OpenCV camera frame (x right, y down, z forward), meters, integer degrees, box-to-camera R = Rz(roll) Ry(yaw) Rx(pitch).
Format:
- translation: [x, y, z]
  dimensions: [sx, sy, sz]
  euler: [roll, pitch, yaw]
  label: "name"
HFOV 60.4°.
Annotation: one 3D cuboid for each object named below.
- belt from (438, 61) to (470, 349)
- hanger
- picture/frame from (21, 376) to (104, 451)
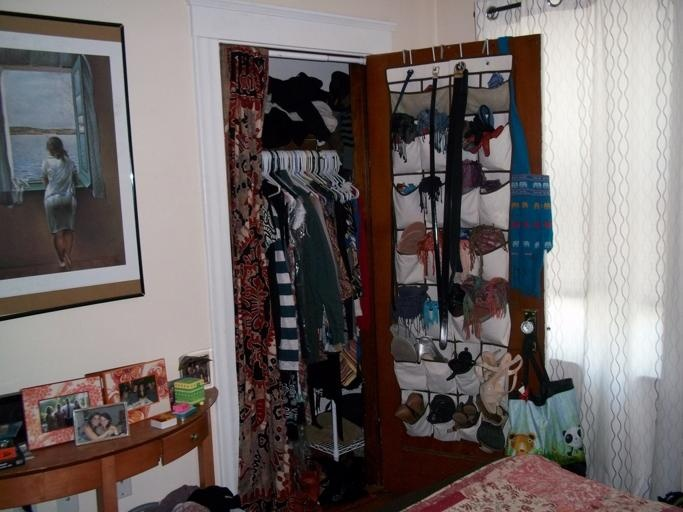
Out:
- translation: [0.637, -0.272, 3.341]
  dimensions: [0.240, 1.599, 0.085]
  euler: [-7, 6, -21]
  label: "belt"
- translation: [-0.225, -0.519, 3.550]
  dimensions: [0.369, 0.157, 0.383]
  euler: [20, 21, 36]
  label: "hanger"
- translation: [-1.284, 0.730, 2.691]
  dimensions: [0.244, 0.234, 0.010]
  euler: [-9, -5, -34]
  label: "picture/frame"
